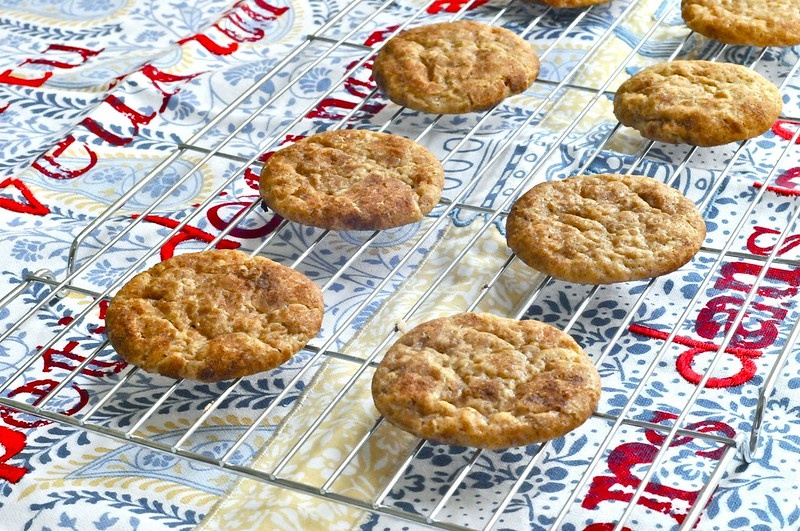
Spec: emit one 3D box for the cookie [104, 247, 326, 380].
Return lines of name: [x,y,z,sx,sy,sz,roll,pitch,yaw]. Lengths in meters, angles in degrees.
cookie: [-0.358,0.092,1.504,0.385,0.051,0.280,17,60,12]

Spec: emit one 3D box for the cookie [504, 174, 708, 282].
cookie: [0.418,-0.087,1.651,0.404,0.056,0.295,-12,58,-6]

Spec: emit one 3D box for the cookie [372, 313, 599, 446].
cookie: [0.153,0.196,1.410,0.385,0.055,0.270,12,59,9]
